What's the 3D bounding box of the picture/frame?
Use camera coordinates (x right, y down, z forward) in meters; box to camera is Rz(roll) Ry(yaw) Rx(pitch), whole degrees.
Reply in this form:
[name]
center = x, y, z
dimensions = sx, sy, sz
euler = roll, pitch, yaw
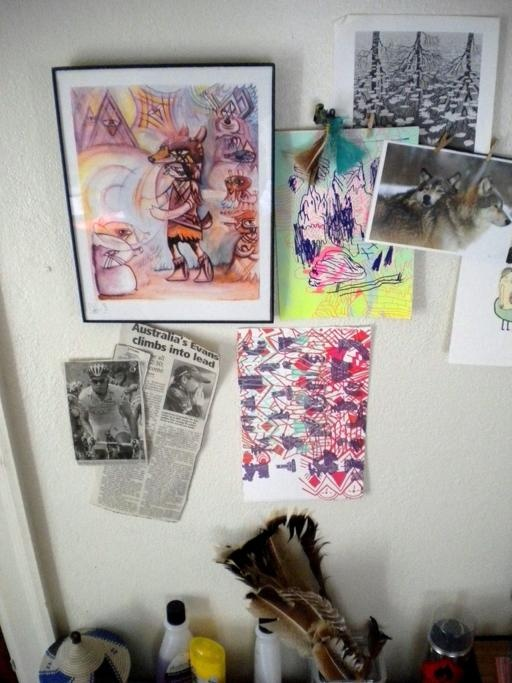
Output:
[picture/frame]
center = -0.124, -0.223, 0.805
dimensions = 0.361, 0.420, 0.014
euler = 1, 22, 6
